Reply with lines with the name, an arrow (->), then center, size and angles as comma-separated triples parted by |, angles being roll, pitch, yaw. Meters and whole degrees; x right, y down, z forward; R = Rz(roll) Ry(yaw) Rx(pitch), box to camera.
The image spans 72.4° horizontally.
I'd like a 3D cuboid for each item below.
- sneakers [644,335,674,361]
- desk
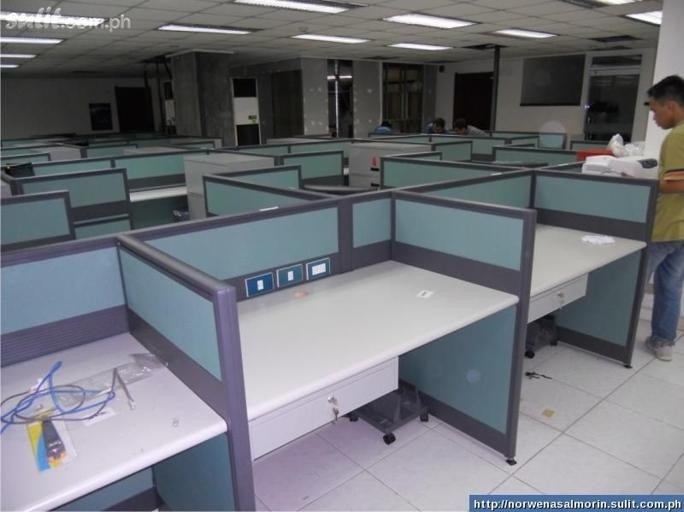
sneakers -> 2.231, 0.642, 3.361 | 0.089, 0.115, 0.262 | -1, 20, 5
desk -> 0.103, 0.451, 2.302 | 2.860, 1.358, 0.915 | -14, 22, -28
